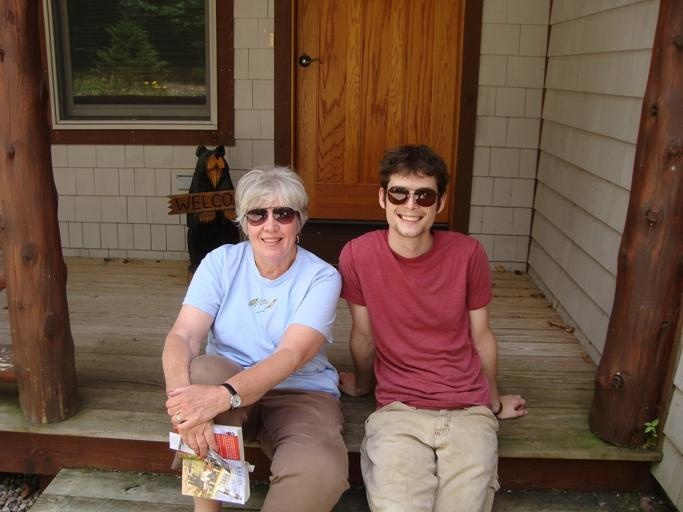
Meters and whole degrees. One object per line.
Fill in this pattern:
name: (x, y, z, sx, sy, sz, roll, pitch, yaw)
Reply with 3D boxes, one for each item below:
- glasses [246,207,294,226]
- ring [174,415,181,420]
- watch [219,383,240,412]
glasses: (-0.315, -0.188, 2.769, 0.237, 0.079, 0.081, -1, 16, -5)
ring: (-0.672, 0.655, 2.452, 0.021, 0.021, 0.005, 14, -2, 2)
watch: (-0.453, 0.583, 2.515, 0.070, 0.115, 0.107, -4, -1, -40)
